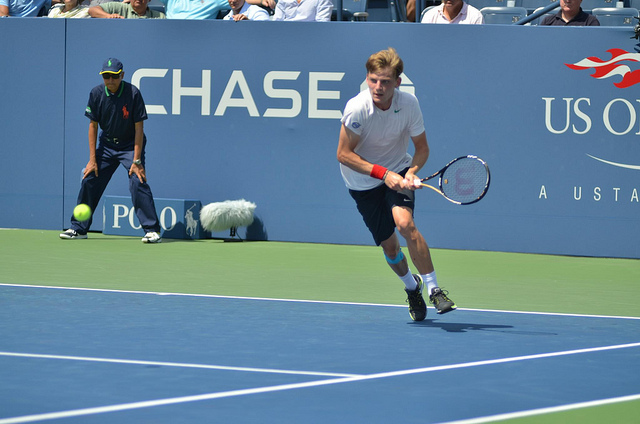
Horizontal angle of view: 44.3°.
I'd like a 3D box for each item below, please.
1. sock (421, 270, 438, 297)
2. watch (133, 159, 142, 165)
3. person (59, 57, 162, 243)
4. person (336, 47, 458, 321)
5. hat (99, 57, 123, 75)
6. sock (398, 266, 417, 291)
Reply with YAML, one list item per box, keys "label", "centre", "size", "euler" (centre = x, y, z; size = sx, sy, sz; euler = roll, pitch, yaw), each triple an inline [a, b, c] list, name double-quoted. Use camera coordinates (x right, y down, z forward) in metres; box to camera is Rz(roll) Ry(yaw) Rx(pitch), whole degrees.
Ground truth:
- label: "sock"
  centre: [1.008, 0.642, 7.267]
  size: [0.090, 0.272, 0.116]
  euler: [-5, 4, -1]
- label: "watch"
  centre: [-2.490, -0.680, 10.739]
  size: [0.067, 0.044, 0.074]
  euler: [6, -8, -36]
- label: "person"
  centre: [-2.770, -0.843, 10.857]
  size: [1.193, 2.488, 0.425]
  euler: [4, 10, 16]
- label: "person"
  centre: [0.646, -0.211, 7.303]
  size: [0.981, 2.562, 0.768]
  euler: [1, 9, 1]
- label: "hat"
  centre: [-2.798, -1.960, 10.585]
  size: [0.273, 0.195, 0.197]
  euler: [-3, 11, -24]
- label: "sock"
  centre: [0.816, 0.626, 7.476]
  size: [0.096, 0.074, 0.224]
  euler: [33, 26, -46]
